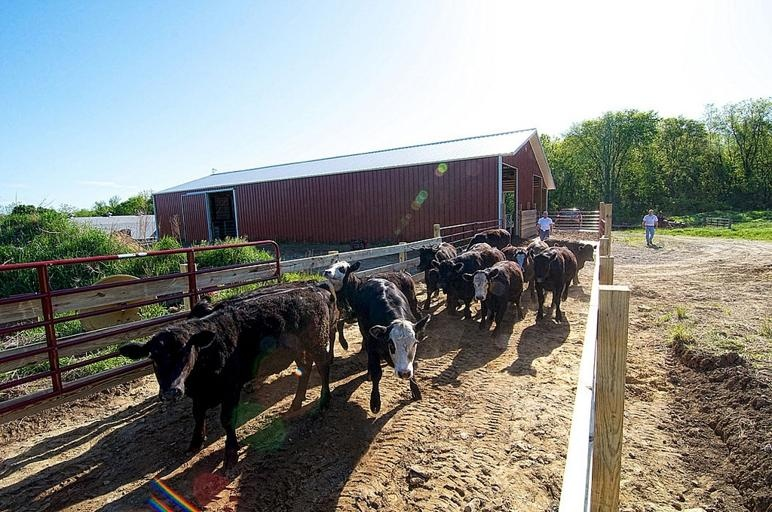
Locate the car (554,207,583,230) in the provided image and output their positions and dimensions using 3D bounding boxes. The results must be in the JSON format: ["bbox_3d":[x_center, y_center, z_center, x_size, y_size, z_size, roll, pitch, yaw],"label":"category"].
[{"bbox_3d":[11.833,-2.139,29.933,1.481,1.410,3.484,1,11,23],"label":"car"}]

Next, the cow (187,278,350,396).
[{"bbox_3d":[-2.013,1.166,7.910,3.138,1.831,1.111,-2,-8,-38],"label":"cow"}]

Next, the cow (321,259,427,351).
[{"bbox_3d":[-0.291,0.952,8.603,0.758,1.799,2.777,-16,-22,43],"label":"cow"}]
